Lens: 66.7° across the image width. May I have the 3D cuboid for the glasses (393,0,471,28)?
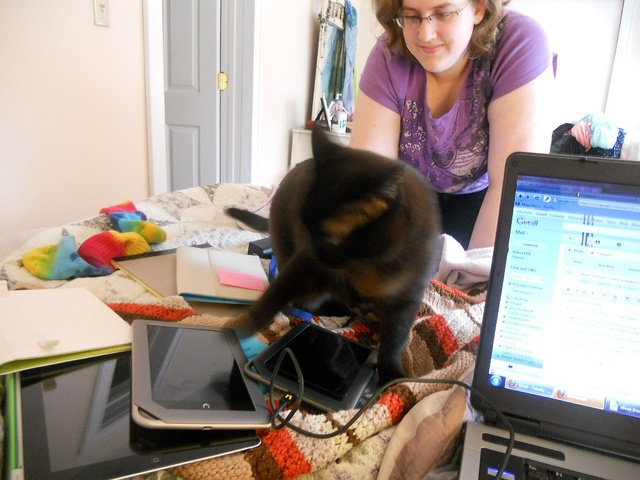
[{"bbox_3d":[0.265,-0.588,1.271,0.220,0.073,0.097,21,26,39],"label":"glasses"}]

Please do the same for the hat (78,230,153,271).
[{"bbox_3d":[-0.509,0.003,1.185,0.103,0.048,0.123,14,19,27],"label":"hat"}]

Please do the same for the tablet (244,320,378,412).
[{"bbox_3d":[-0.004,0.208,0.793,0.123,0.031,0.133,19,28,16],"label":"tablet"}]

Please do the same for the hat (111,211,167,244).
[{"bbox_3d":[-0.492,-0.048,1.305,0.143,0.052,0.090,30,37,34],"label":"hat"}]

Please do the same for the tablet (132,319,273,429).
[{"bbox_3d":[-0.196,0.207,0.766,0.186,0.015,0.270,10,17,-26],"label":"tablet"}]
